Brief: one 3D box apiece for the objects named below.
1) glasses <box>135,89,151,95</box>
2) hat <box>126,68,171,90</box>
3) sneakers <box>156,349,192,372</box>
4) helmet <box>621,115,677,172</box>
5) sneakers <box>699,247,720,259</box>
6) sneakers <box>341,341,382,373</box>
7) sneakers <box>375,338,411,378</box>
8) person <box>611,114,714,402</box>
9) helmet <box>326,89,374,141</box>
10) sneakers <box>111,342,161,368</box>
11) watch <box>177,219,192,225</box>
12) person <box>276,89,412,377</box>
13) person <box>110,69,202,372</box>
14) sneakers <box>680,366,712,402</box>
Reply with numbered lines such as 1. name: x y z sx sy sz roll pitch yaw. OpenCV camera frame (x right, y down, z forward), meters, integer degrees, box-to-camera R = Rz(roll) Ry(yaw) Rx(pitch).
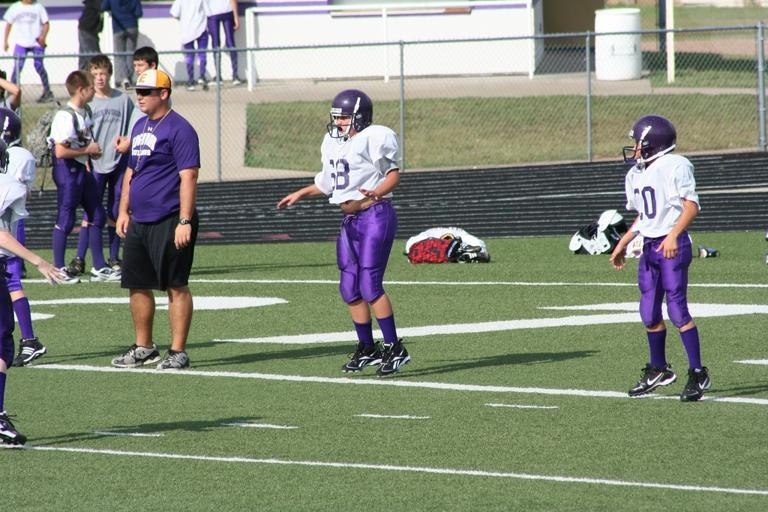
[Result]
1. glasses: -2.175 -1.468 11.480 0.085 0.057 0.133 0 -9 11
2. hat: -2.094 -1.590 11.476 0.271 0.138 0.194 1 8 17
3. sneakers: -1.921 0.965 11.611 0.139 0.132 0.288 -1 -3 33
4. helmet: 2.281 -0.974 10.804 0.466 0.410 0.375 4 14 35
5. sneakers: 4.135 -0.027 16.039 0.198 0.077 0.129 3 -3 -6
6. sneakers: -0.177 0.939 11.548 0.318 0.173 0.103 -32 22 -3
7. sneakers: 0.079 0.919 11.362 0.155 0.246 0.390 4 28 43
8. person: 2.368 0.015 10.678 0.722 2.298 0.852 -1 14 -1
9. helmet: -0.273 -1.286 11.468 0.439 0.353 0.336 -6 10 -11
10. sneakers: -2.269 0.915 11.691 0.445 0.185 0.188 -3 9 -23
11. watch: -1.765 -0.300 11.357 0.113 0.061 0.053 -7 15 -22
12. person: -0.204 -0.198 11.382 0.736 2.484 0.902 -8 16 -24
13. person: -2.105 -0.324 11.566 0.862 2.667 0.778 10 18 36
14. sneakers: 2.658 1.068 10.612 0.318 0.279 0.162 -11 18 -36
